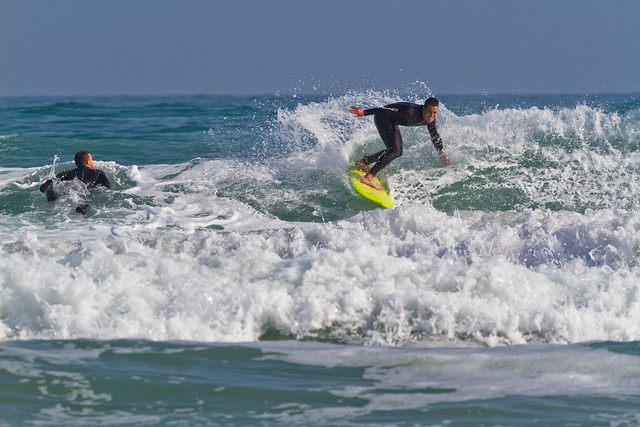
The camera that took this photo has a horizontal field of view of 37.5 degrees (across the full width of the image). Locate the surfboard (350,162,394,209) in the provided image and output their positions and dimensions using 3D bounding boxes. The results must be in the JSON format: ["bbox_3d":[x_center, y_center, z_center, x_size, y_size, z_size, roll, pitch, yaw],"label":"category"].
[{"bbox_3d":[0.903,-0.568,17.698,0.401,0.133,1.252,5,23,-32],"label":"surfboard"}]

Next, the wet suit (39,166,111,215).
[{"bbox_3d":[-4.466,-0.500,17.193,1.011,0.738,0.819,1,9,22],"label":"wet suit"}]
